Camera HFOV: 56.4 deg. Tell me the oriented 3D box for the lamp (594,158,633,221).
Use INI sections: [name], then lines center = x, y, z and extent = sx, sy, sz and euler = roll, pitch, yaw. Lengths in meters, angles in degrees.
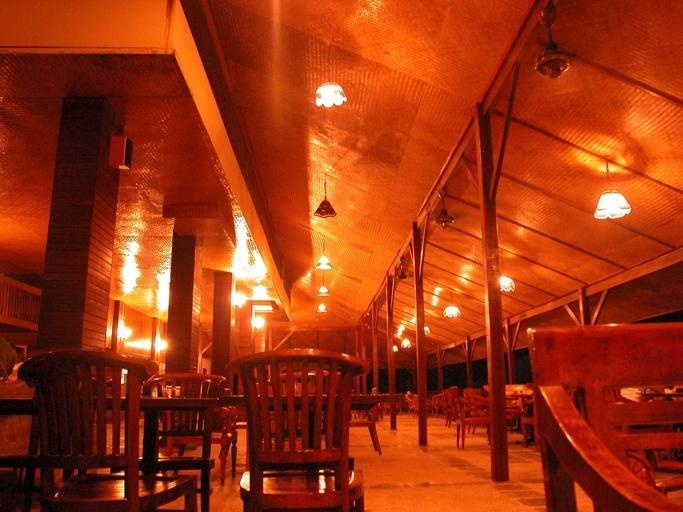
[lamp]
center = 2.883, -0.771, 6.867
extent = 0.432, 0.708, 0.374
euler = -5, 3, -8
